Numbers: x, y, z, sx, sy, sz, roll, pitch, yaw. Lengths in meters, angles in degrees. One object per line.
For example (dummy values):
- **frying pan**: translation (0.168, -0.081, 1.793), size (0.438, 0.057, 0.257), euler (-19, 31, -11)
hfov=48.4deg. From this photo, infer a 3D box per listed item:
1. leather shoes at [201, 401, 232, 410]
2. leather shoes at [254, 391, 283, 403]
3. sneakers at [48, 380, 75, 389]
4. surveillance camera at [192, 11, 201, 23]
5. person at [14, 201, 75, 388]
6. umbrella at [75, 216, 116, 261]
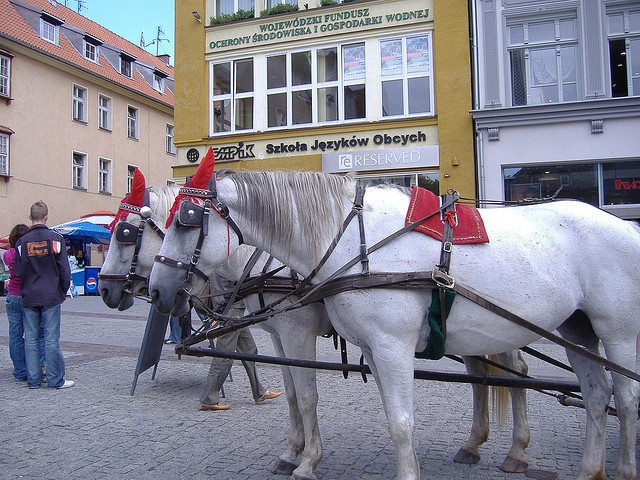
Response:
- **leather shoes**: translation (-1.417, 2.266, 9.824), size (0.416, 0.164, 0.135), euler (-2, -4, -9)
- **leather shoes**: translation (-0.735, 2.236, 10.190), size (0.403, 0.151, 0.133), euler (-17, 4, -20)
- **sneakers**: translation (-3.886, 2.163, 10.704), size (0.336, 0.136, 0.119), euler (-1, 4, -13)
- **surveillance camera**: translation (-3.390, -6.166, 19.738), size (0.125, 0.387, 0.153), euler (-27, 8, 21)
- **person**: translation (-4.193, 0.836, 10.828), size (0.785, 2.750, 1.052), euler (-4, 8, -23)
- **umbrella**: translation (-6.873, -0.087, 21.578), size (1.652, 1.330, 1.516), euler (-2, 6, -23)
